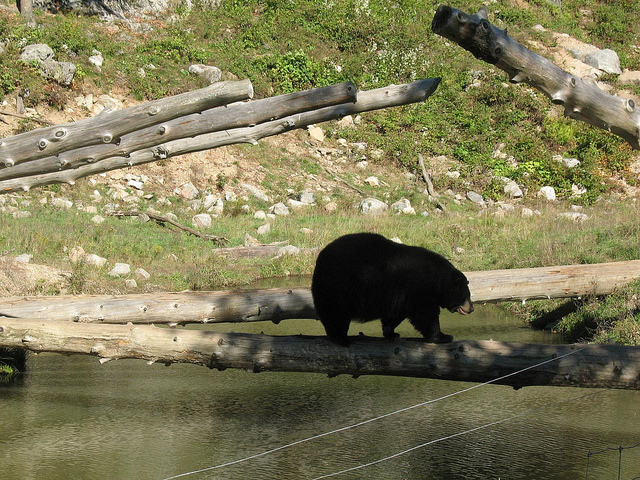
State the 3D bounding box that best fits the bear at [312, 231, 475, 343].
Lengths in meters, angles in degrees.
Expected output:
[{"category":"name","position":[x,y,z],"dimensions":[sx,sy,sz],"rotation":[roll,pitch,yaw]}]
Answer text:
[{"category":"bear","position":[1.706,1.243,34.561],"dimensions":[4.549,2.186,2.584],"rotation":[4,91,-9]}]
